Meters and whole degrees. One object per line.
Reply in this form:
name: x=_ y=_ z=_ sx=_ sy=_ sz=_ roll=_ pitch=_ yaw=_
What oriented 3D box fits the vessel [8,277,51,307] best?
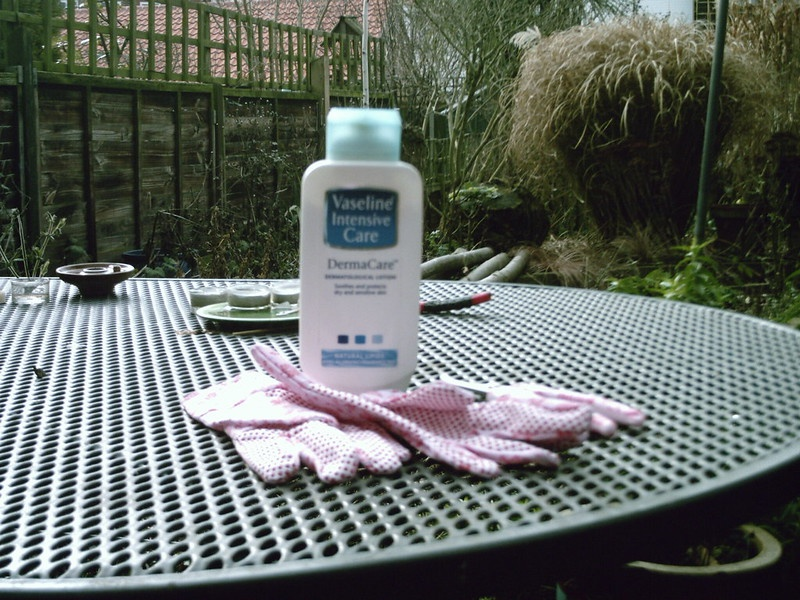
vessel: x=-0.758 y=-0.022 z=1.310 sx=0.062 sy=0.041 sz=0.062 roll=2 pitch=2 yaw=29

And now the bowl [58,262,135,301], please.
bowl: x=-0.673 y=-0.056 z=1.431 sx=0.167 sy=0.060 sz=0.199 roll=-2 pitch=13 yaw=-7

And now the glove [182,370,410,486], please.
glove: x=-0.119 y=0.104 z=0.655 sx=0.111 sy=0.028 sz=0.166 roll=-9 pitch=19 yaw=-43

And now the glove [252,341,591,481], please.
glove: x=0.037 y=0.078 z=0.659 sx=0.243 sy=0.064 sz=0.122 roll=18 pitch=8 yaw=16

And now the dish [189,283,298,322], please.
dish: x=-0.287 y=-0.004 z=1.184 sx=0.196 sy=0.048 sz=0.210 roll=-3 pitch=14 yaw=-10
